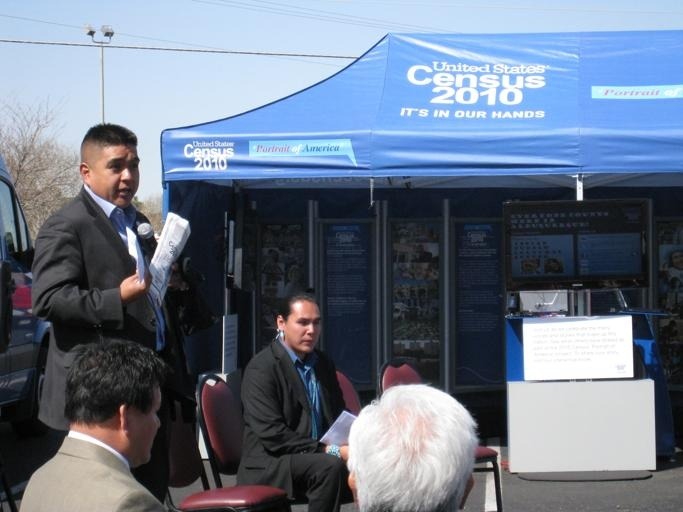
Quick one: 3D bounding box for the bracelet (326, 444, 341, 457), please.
[{"bbox_3d":[-0.054,1.170,5.010,0.129,0.071,0.028,-2,-2,44],"label":"bracelet"}]
